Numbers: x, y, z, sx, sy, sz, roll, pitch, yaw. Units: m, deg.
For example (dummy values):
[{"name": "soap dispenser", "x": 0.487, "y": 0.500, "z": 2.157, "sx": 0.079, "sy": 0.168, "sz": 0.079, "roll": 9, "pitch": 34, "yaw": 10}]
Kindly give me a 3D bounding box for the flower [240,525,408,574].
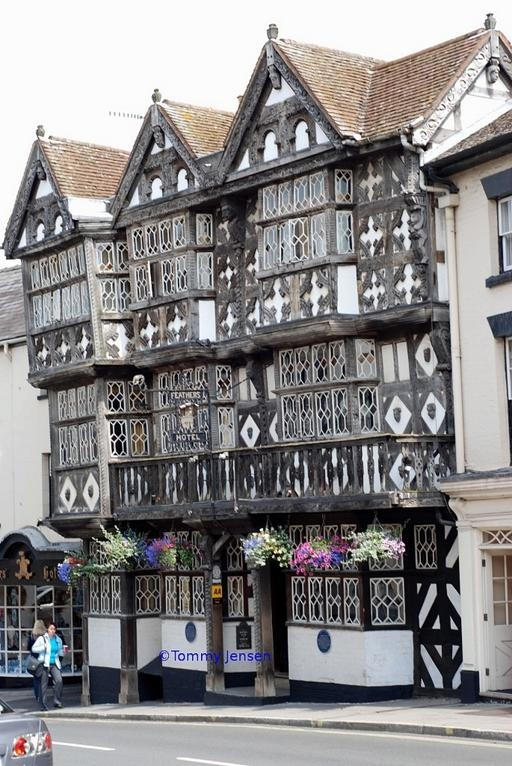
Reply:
[{"name": "flower", "x": 1.105, "y": 2.741, "z": 21.997, "sx": 1.150, "sy": 0.825, "sz": 3.254, "roll": 2, "pitch": -9, "yaw": -45}]
